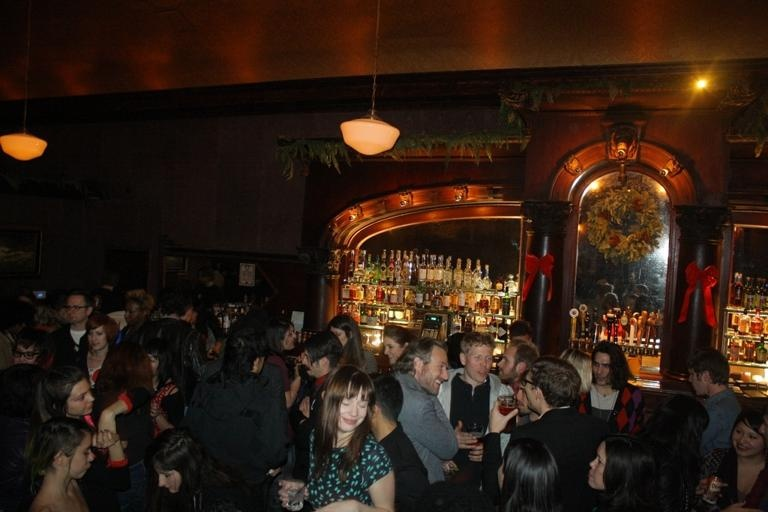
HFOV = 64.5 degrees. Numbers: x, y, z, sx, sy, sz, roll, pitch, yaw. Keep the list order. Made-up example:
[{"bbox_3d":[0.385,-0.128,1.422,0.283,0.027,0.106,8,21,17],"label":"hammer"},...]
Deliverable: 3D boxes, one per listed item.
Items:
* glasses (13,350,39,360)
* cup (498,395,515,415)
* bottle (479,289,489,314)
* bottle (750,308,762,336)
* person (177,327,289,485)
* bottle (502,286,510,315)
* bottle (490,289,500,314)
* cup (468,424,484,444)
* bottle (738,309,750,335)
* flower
[{"bbox_3d":[-3.313,0.912,5.642,0.214,0.069,0.057,6,-5,-15],"label":"glasses"},{"bbox_3d":[0.999,1.205,4.998,0.161,0.125,0.138,-1,1,-7],"label":"cup"},{"bbox_3d":[1.437,0.668,8.786,0.142,0.262,0.106,5,-5,5],"label":"bottle"},{"bbox_3d":[4.854,0.858,7.932,0.156,0.331,0.057,4,-5,15],"label":"bottle"},{"bbox_3d":[-1.297,1.327,5.242,0.947,1.125,0.684,17,23,10],"label":"person"},{"bbox_3d":[1.724,0.656,8.628,0.108,0.341,0.112,5,-5,0],"label":"bottle"},{"bbox_3d":[1.601,0.646,8.710,0.209,0.341,0.157,4,-5,13],"label":"bottle"},{"bbox_3d":[0.777,1.504,5.231,0.168,0.131,0.280,4,-5,9],"label":"cup"},{"bbox_3d":[4.721,0.860,8.005,0.136,0.324,0.051,4,-5,19],"label":"bottle"},{"bbox_3d":[3.139,-0.446,8.006,0.976,0.959,0.256,3,-5,20],"label":"flower"}]
